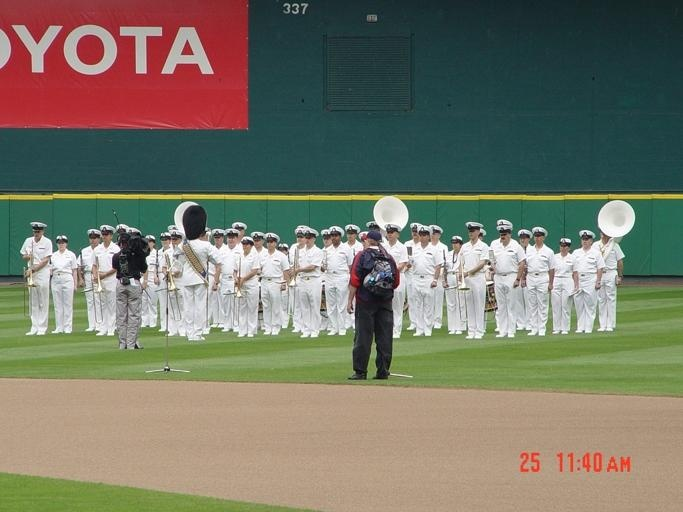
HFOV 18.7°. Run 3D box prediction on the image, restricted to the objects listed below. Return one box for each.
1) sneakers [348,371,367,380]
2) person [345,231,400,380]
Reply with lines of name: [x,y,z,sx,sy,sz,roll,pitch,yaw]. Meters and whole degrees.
sneakers: [0.452,3.364,56.985,0.556,0.215,0.197,3,2,15]
person: [0.869,1.336,57.014,1.368,4.023,1.146,9,11,32]
